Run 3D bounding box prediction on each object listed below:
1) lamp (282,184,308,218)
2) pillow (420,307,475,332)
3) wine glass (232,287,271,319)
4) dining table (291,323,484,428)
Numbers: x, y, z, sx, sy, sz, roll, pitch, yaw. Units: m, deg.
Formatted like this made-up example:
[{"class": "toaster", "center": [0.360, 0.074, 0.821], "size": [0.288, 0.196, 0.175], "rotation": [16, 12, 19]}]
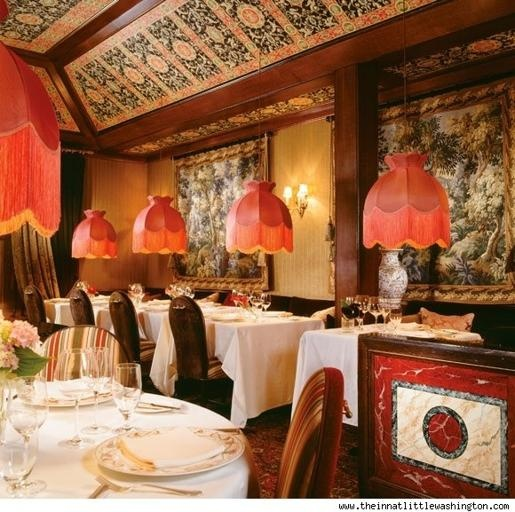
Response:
[{"class": "lamp", "center": [0.639, -0.854, 7.035], "size": [0.295, 0.508, 0.554], "rotation": [6, -3, -41]}, {"class": "pillow", "center": [1.749, 0.600, 4.083], "size": [0.371, 0.125, 0.355], "rotation": [-3, -5, 22]}, {"class": "wine glass", "center": [-0.041, 0.444, 4.192], "size": [0.162, 0.205, 0.537], "rotation": [0, -1, -22]}, {"class": "dining table", "center": [0.817, 0.824, 2.936], "size": [0.952, 0.751, 0.995], "rotation": [2, -3, -24]}]
